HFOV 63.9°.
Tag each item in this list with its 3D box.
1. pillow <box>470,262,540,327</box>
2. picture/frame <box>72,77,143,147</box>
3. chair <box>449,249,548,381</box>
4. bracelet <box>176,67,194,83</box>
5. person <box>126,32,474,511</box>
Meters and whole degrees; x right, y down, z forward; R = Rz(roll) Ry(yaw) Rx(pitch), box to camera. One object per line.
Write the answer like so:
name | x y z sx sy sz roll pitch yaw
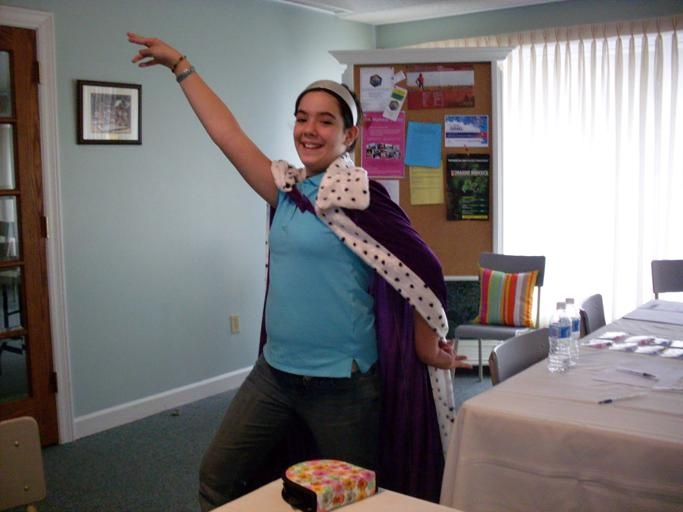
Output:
pillow | 1.212 0.273 4.052 0.391 0.451 0.153 3 -12 22
picture/frame | -1.520 -0.935 3.522 0.029 0.452 0.428 0 3 41
chair | 1.194 0.525 4.323 0.586 1.179 0.682 -2 10 -15
bracelet | -0.518 -0.607 1.819 0.060 0.024 0.056 -26 9 30
person | -0.041 0.111 1.862 0.911 1.492 0.407 -3 9 -15
